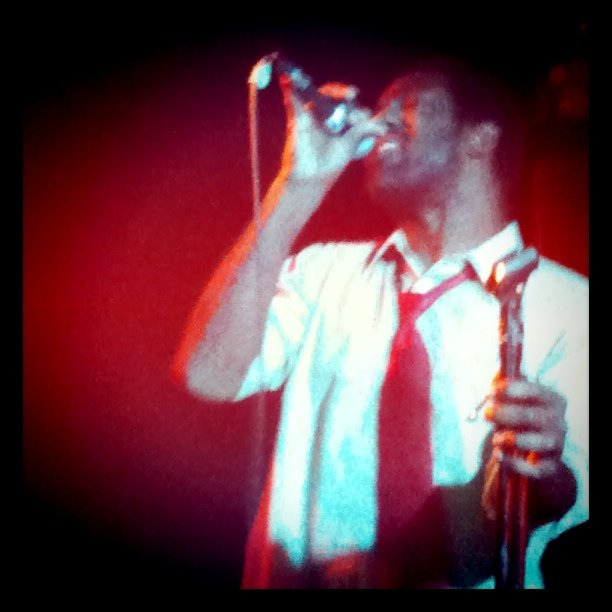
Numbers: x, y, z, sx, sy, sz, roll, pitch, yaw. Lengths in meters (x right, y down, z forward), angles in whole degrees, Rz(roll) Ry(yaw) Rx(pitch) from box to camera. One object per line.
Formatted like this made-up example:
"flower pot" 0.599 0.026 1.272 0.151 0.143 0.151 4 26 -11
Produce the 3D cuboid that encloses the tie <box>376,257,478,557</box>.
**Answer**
"tie" 0.248 0.243 2.266 0.244 0.867 0.048 7 33 11
